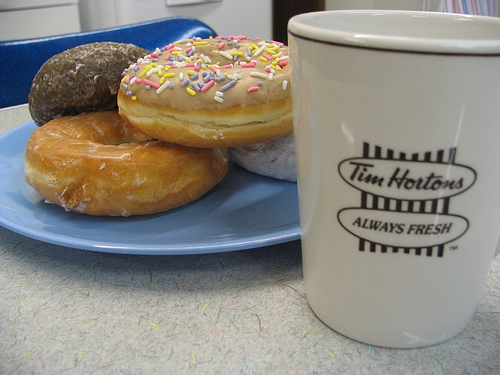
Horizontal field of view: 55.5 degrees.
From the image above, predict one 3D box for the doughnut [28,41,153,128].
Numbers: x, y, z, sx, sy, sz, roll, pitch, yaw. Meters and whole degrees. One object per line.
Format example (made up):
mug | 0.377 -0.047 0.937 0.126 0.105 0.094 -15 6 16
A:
doughnut | -0.247 -0.165 0.739 0.144 0.054 0.146 -7 22 17
